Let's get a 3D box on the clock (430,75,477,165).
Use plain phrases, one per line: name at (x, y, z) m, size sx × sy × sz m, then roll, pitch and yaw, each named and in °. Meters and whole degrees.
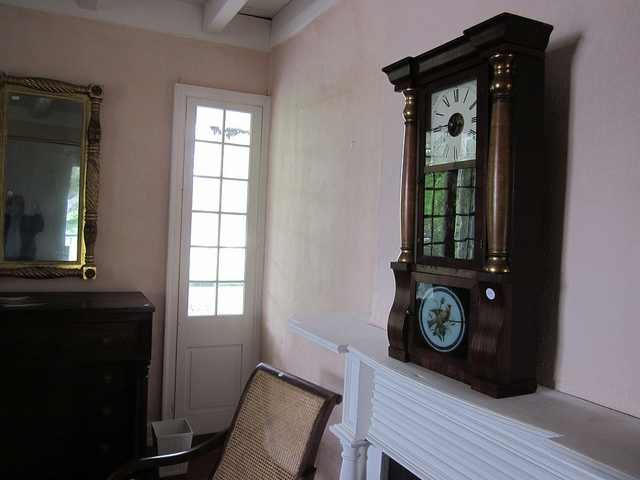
clock at (0.427, -0.377, 1.652) m, size 0.014 × 0.263 × 0.177 m, roll 0°, pitch 2°, yaw -36°
